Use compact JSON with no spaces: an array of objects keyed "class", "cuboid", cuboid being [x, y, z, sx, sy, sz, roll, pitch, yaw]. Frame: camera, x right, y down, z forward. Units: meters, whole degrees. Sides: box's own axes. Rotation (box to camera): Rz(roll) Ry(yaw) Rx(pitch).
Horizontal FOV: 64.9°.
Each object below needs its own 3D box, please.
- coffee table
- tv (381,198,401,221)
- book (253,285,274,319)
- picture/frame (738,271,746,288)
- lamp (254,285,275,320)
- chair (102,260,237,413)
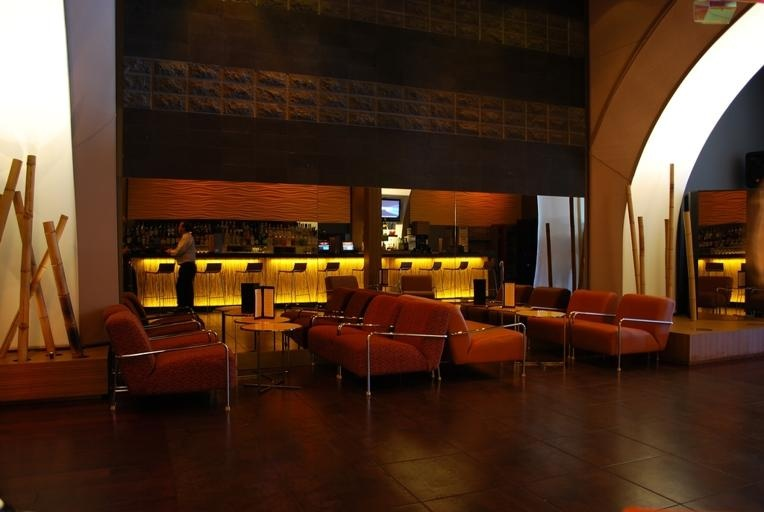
[{"class":"coffee table","cuboid":[-1.979,1.517,9.845,1.118,0.896,1.757,-1,3,-23]},{"class":"tv","cuboid":[0.150,-0.942,12.013,0.423,0.429,0.061,2,0,-11]},{"class":"book","cuboid":[-1.887,0.745,9.576,0.308,0.466,0.211,-1,11,-2]},{"class":"picture/frame","cuboid":[7.762,0.499,12.959,0.098,0.331,0.174,2,11,12]},{"class":"lamp","cuboid":[-1.893,0.734,9.598,0.421,0.562,0.402,0,-1,1]},{"class":"chair","cuboid":[-3.106,1.258,8.980,1.574,1.300,1.673,0,0,-16]}]
